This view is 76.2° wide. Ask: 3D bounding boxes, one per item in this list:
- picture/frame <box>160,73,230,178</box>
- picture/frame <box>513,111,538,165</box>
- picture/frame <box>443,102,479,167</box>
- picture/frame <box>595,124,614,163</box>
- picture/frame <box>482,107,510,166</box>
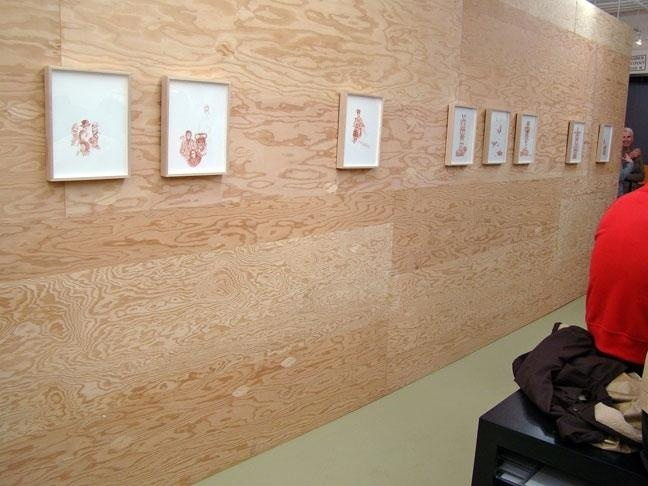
[{"bbox_3d":[-0.707,-0.634,2.309,0.386,0.524,0.087,-8,20,-42],"label":"picture/frame"},{"bbox_3d":[2.331,-1.221,4.800,0.099,0.586,0.744,4,9,43],"label":"picture/frame"},{"bbox_3d":[1.313,-1.045,3.984,0.728,0.561,0.098,-12,18,-44],"label":"picture/frame"},{"bbox_3d":[4.252,-1.513,6.264,0.665,0.751,0.114,-13,14,-43],"label":"picture/frame"},{"bbox_3d":[1.825,-1.137,4.398,0.096,0.579,0.746,4,8,44],"label":"picture/frame"}]
